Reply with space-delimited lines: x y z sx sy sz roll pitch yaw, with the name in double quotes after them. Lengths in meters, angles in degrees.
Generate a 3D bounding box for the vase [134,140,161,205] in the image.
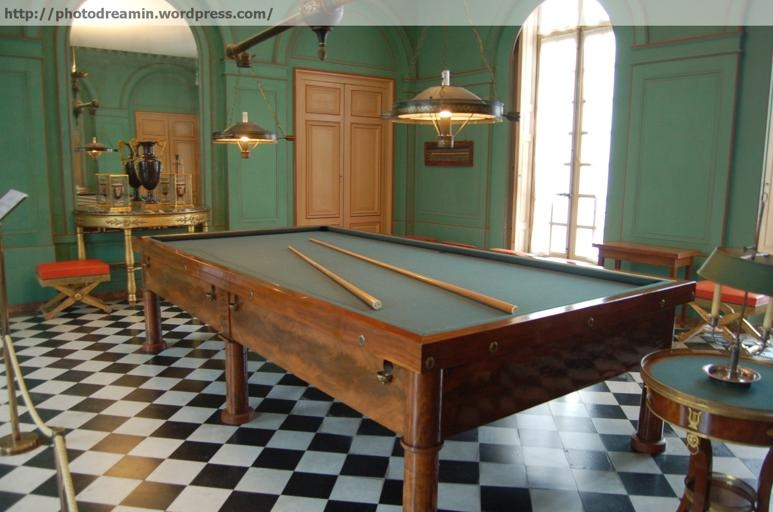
-3.275 -1.174 7.645 0.337 0.843 0.516 -8 14 -20 "vase"

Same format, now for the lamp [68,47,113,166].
-4.034 -2.036 7.419 0.430 1.431 0.166 -9 15 -23 "lamp"

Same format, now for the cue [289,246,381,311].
-0.398 0.182 4.263 0.076 0.068 1.866 -6 14 -30 "cue"

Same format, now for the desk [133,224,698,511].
-0.226 0.590 4.993 4.627 1.478 2.351 7 15 41 "desk"

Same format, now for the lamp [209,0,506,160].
-0.111 -1.458 4.645 1.678 1.139 2.217 -10 14 -34 "lamp"

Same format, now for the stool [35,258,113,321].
-3.865 0.409 7.081 0.935 0.682 0.774 -2 7 -40 "stool"
